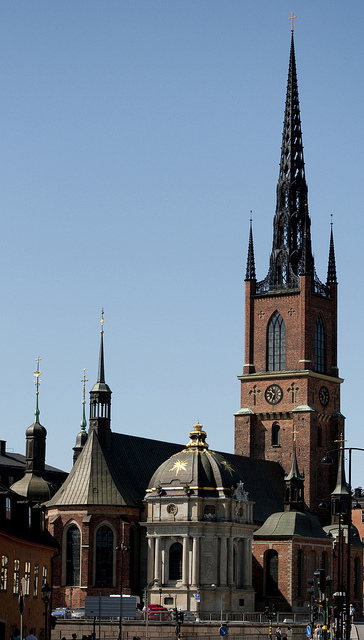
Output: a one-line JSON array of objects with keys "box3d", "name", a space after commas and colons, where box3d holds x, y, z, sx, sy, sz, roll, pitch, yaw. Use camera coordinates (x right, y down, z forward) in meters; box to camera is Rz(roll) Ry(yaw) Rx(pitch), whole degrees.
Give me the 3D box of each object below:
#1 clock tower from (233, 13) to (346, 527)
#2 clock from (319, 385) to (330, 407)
[{"box3d": [9.527, -3.781, 141.624, 8.040, 42.931, 5.351, -1, -10, 6], "name": "clock tower"}, {"box3d": [12.314, 6.625, 139.958, 0.172, 1.861, 1.505, -2, -2, 18], "name": "clock"}]
